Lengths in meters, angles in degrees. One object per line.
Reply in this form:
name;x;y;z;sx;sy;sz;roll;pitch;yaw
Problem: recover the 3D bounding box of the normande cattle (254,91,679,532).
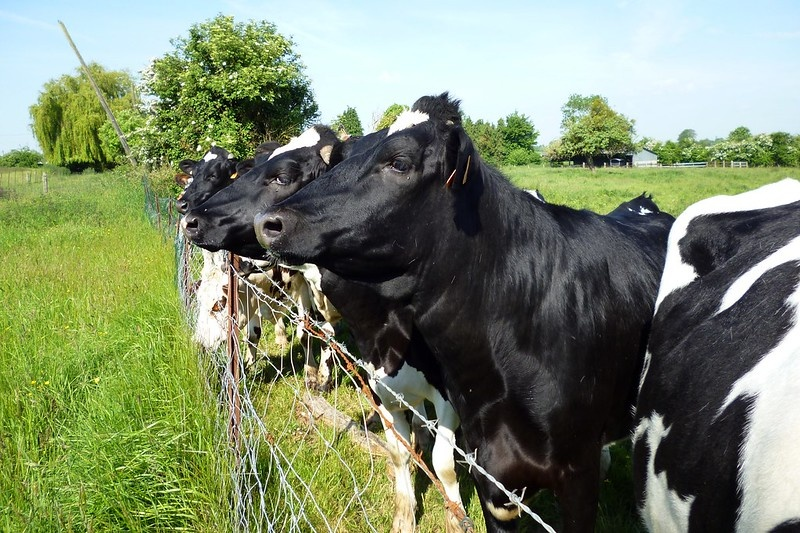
normande cattle;0.661;0.513;4.960;3.894;3.063;1.297;8;-16;-42
